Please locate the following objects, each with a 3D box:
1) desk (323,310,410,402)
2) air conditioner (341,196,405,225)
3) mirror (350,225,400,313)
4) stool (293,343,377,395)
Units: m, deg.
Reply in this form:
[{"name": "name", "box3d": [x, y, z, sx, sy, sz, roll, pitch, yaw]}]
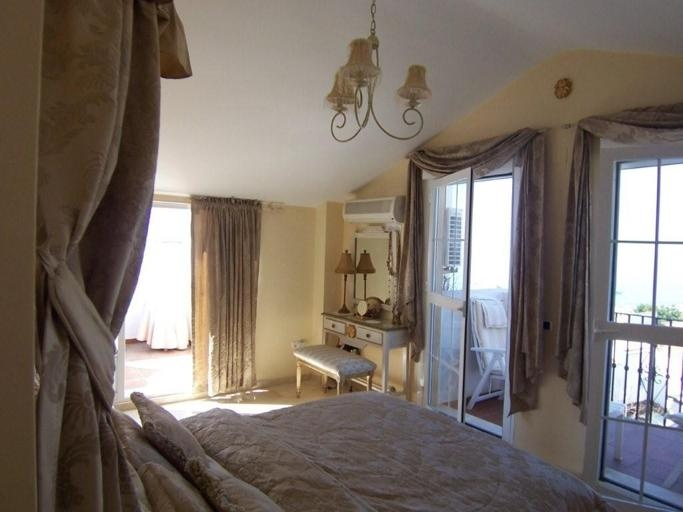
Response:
[{"name": "desk", "box3d": [0.205, 0.934, 5.362, 0.319, 0.679, 0.972, -4, 7, -38]}, {"name": "air conditioner", "box3d": [0.321, -0.455, 5.358, 0.240, 0.297, 0.762, 1, 9, -29]}, {"name": "mirror", "box3d": [0.353, 0.127, 5.506, 0.083, 1.117, 0.748, -2, 5, -37]}, {"name": "stool", "box3d": [-0.087, 1.131, 5.079, 0.417, 0.539, 0.861, -1, 4, -30]}]
